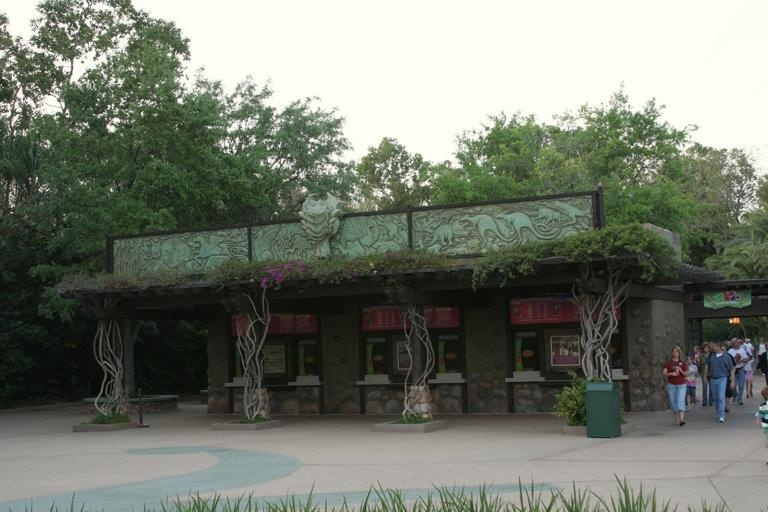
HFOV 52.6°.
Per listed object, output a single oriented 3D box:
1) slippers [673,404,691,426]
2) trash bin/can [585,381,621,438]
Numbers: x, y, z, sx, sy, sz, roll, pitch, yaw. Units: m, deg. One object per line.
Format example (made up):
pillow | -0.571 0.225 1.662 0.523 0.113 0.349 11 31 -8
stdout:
slippers | 8.020 4.268 20.892 0.291 0.494 0.828 -3 -3 18
trash bin/can | 5.469 3.814 19.251 0.802 1.321 0.508 -3 -2 14
